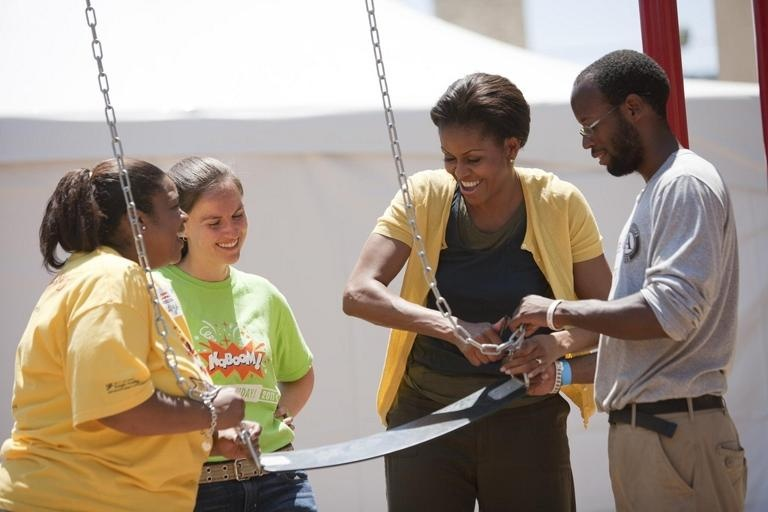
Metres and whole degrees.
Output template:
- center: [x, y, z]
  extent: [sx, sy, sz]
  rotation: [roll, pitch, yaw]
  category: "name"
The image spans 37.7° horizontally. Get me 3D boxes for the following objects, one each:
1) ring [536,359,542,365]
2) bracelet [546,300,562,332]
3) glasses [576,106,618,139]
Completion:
- center: [0.752, 0.512, 5.464]
  extent: [0.020, 0.027, 0.007]
  rotation: [1, -5, -5]
  category: "ring"
- center: [0.790, 0.272, 5.273]
  extent: [0.045, 0.116, 0.099]
  rotation: [2, -16, 7]
  category: "bracelet"
- center: [1.015, -0.630, 5.328]
  extent: [0.141, 0.044, 0.133]
  rotation: [-40, 4, -9]
  category: "glasses"
